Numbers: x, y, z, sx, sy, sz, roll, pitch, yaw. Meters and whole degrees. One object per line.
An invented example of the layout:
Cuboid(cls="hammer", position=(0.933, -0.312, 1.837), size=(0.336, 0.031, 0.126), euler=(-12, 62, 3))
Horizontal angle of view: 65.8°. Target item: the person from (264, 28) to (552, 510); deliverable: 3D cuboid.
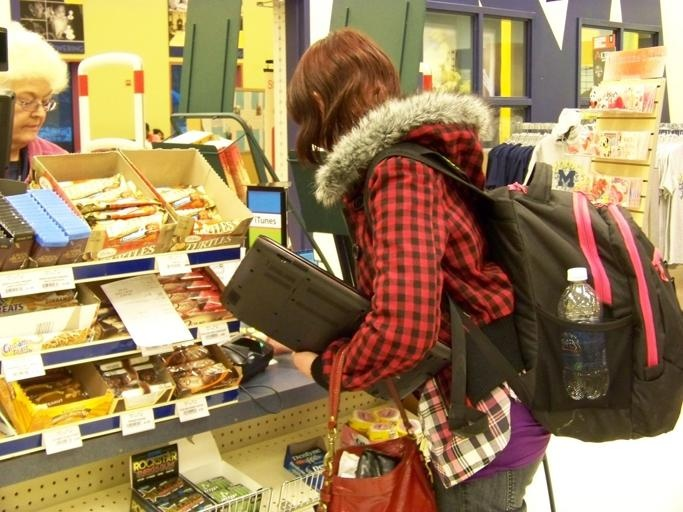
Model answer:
Cuboid(cls="person", position=(0.173, 0.065, 1.456), size=(0.583, 1.311, 0.625), euler=(-12, 22, -24))

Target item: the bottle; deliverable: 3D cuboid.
Cuboid(cls="bottle", position=(0.631, 0.200, 1.380), size=(0.137, 0.360, 0.101), euler=(-5, 20, -5))
